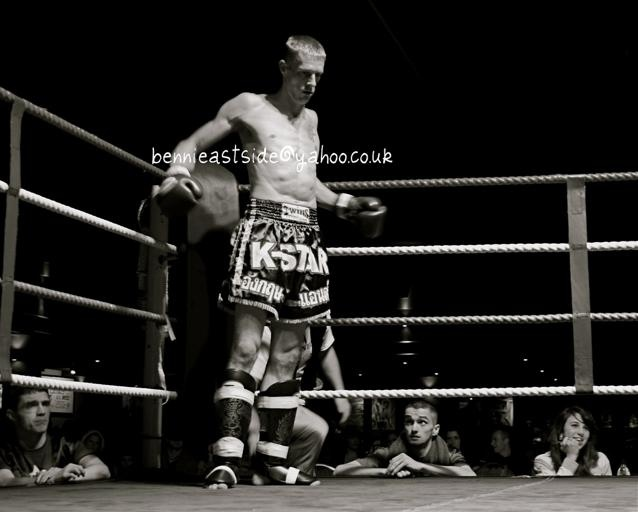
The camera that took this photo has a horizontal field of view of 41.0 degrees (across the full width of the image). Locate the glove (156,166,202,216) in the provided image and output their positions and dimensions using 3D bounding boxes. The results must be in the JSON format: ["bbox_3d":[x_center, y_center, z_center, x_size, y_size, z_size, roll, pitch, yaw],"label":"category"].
[{"bbox_3d":[-0.538,-0.230,3.255,0.162,0.127,0.180,-28,6,29],"label":"glove"}]

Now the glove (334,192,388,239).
[{"bbox_3d":[0.183,-0.177,3.649,0.247,0.138,0.141,33,14,23],"label":"glove"}]
